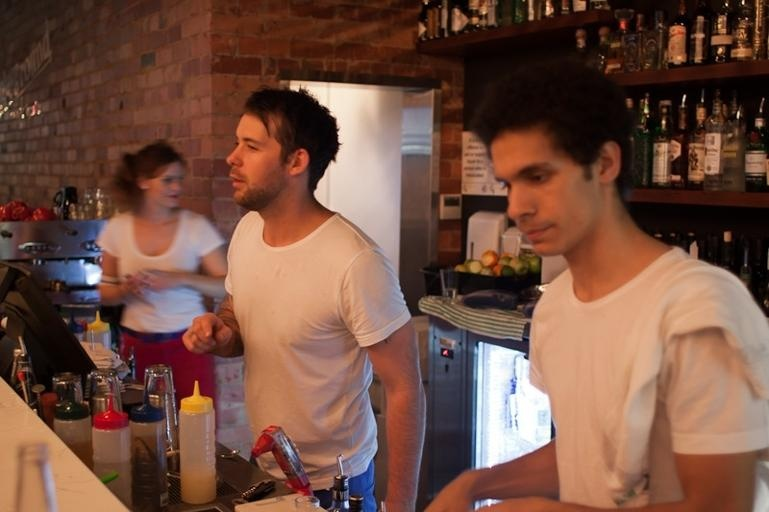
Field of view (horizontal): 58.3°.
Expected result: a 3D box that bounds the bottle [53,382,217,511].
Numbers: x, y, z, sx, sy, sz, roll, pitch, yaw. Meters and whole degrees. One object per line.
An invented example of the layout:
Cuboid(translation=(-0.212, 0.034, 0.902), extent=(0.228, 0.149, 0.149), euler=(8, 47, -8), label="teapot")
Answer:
Cuboid(translation=(-0.679, 0.492, 1.858), extent=(0.298, 0.316, 0.381), euler=(-4, 4, -39), label="bottle")

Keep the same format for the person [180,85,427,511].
Cuboid(translation=(-0.233, 0.138, 2.292), extent=(0.748, 1.426, 0.383), euler=(0, 3, 13), label="person")
